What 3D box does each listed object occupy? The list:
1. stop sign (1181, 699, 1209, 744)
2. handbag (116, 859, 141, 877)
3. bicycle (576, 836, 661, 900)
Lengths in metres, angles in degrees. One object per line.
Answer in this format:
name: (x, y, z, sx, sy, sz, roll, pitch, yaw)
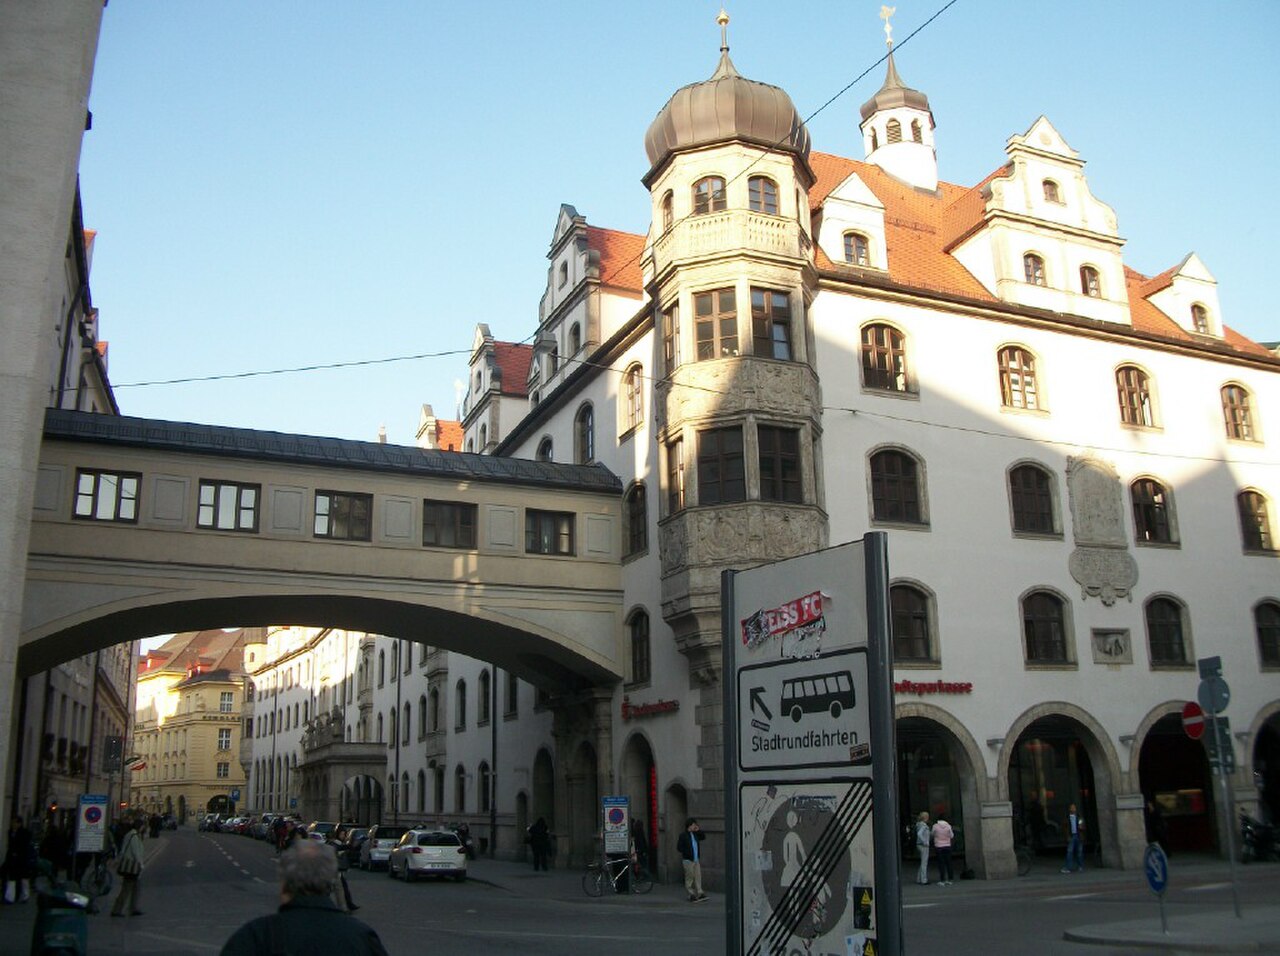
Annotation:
stop sign: (10.013, 4.327, 21.448, 0.376, 0.674, 1.728, -9, -20, 23)
handbag: (-11.230, 8.604, 25.983, 0.414, 0.157, 0.413, 0, -3, -28)
bicycle: (-0.482, 10.221, 30.540, 2.006, 1.228, 1.005, 12, -36, -29)
